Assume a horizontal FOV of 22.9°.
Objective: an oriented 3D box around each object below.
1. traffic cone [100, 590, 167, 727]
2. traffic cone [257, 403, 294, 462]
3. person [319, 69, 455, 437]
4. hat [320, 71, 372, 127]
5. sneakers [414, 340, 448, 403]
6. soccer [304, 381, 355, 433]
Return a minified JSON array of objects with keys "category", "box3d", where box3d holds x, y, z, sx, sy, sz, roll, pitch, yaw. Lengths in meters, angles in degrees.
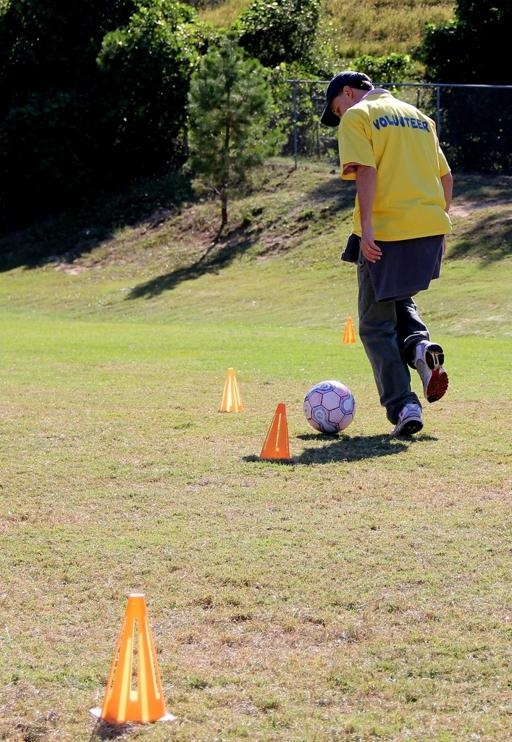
[{"category":"traffic cone","box3d":[-0.474,1.071,4.651,0.188,0.490,0.173,7,18,35]},{"category":"traffic cone","box3d":[0.113,0.386,7.796,0.197,0.374,0.345,-3,14,0]},{"category":"person","box3d":[0.831,-0.793,8.119,1.231,2.128,0.744,0,2,12]},{"category":"hat","box3d":[0.623,-1.891,8.262,0.295,0.159,0.195,-11,18,16]},{"category":"sneakers","box3d":[1.155,0.004,8.280,0.189,0.419,0.220,-16,-8,-4]},{"category":"soccer","box3d":[0.456,0.246,8.746,0.353,0.344,0.496,1,13,-7]}]
